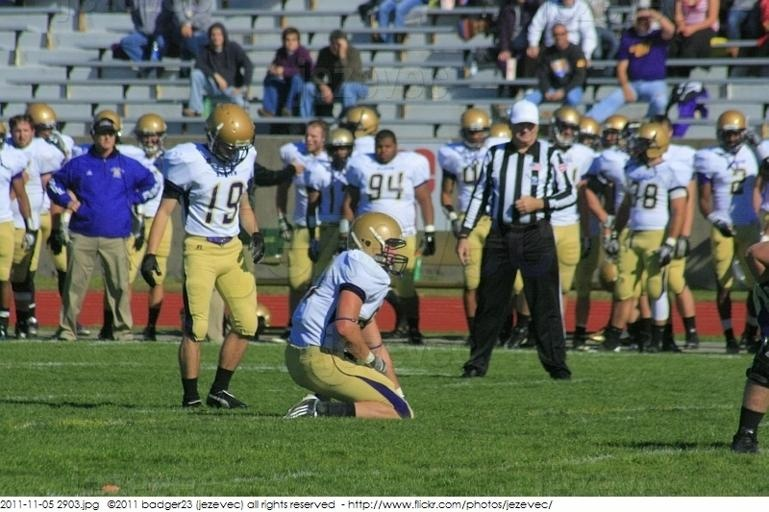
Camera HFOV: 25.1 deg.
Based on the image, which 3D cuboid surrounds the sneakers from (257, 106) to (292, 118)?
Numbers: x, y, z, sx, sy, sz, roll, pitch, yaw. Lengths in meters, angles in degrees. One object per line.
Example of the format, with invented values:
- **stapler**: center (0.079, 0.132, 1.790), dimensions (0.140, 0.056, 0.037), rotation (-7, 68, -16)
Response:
- **sneakers**: center (-1.546, -2.070, 24.938), dimensions (0.535, 0.131, 0.072), rotation (5, 13, 20)

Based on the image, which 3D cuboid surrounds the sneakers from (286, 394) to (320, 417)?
- **sneakers**: center (-0.809, 1.503, 17.461), dimensions (0.354, 0.201, 0.264), rotation (0, 12, -1)

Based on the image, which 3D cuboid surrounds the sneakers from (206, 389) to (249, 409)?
- **sneakers**: center (-1.603, 1.469, 17.912), dimensions (0.362, 0.138, 0.180), rotation (5, 4, 9)

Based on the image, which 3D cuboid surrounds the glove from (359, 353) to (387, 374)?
- **glove**: center (-0.106, 1.063, 17.453), dimensions (0.151, 0.246, 0.289), rotation (11, 16, 41)

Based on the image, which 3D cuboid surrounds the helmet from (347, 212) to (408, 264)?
- **helmet**: center (-0.019, -0.250, 17.553), dimensions (0.627, 0.477, 0.484), rotation (10, 15, 25)

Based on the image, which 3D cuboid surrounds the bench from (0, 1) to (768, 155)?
- **bench**: center (-1.702, -3.155, 27.224), dimensions (18.562, 2.229, 0.771), rotation (2, 1, 9)
